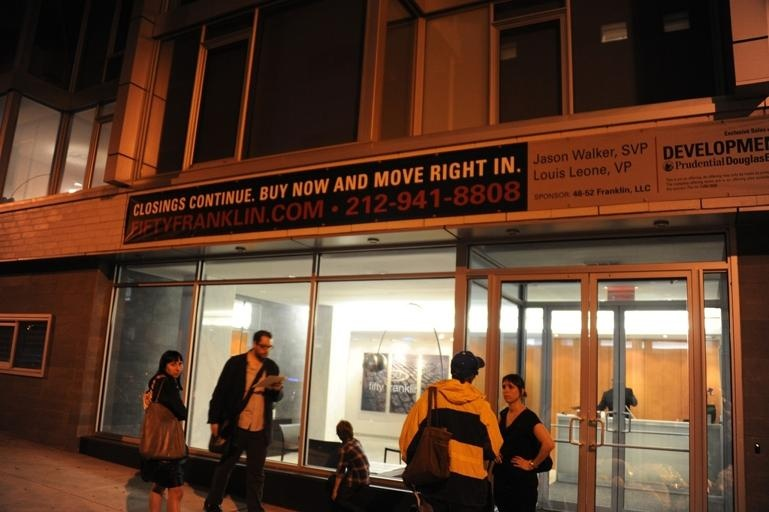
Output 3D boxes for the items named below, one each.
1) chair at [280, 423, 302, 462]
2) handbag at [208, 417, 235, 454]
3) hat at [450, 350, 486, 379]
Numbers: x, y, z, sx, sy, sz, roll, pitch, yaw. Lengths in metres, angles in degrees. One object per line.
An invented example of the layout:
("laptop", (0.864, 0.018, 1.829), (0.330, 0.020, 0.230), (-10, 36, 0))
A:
("chair", (-1.503, 2.951, 9.700), (0.473, 0.709, 0.515), (2, -14, -13))
("handbag", (-2.257, 2.478, 8.311), (0.300, 0.429, 0.142), (3, -11, -1))
("hat", (0.932, 1.166, 6.599), (0.241, 0.199, 0.388), (7, 17, 32))
